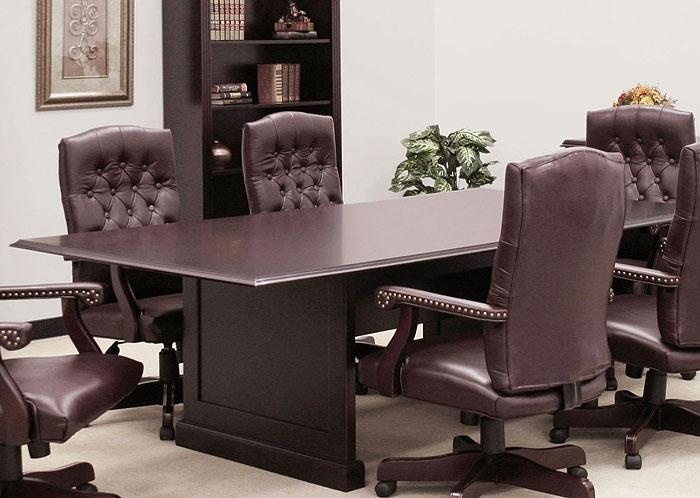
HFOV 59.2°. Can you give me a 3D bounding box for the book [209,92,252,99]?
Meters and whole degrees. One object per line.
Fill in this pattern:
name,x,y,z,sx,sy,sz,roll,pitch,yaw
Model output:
book,-0.972,-1.251,5.055,0.347,0.080,0.028,-6,10,-39
